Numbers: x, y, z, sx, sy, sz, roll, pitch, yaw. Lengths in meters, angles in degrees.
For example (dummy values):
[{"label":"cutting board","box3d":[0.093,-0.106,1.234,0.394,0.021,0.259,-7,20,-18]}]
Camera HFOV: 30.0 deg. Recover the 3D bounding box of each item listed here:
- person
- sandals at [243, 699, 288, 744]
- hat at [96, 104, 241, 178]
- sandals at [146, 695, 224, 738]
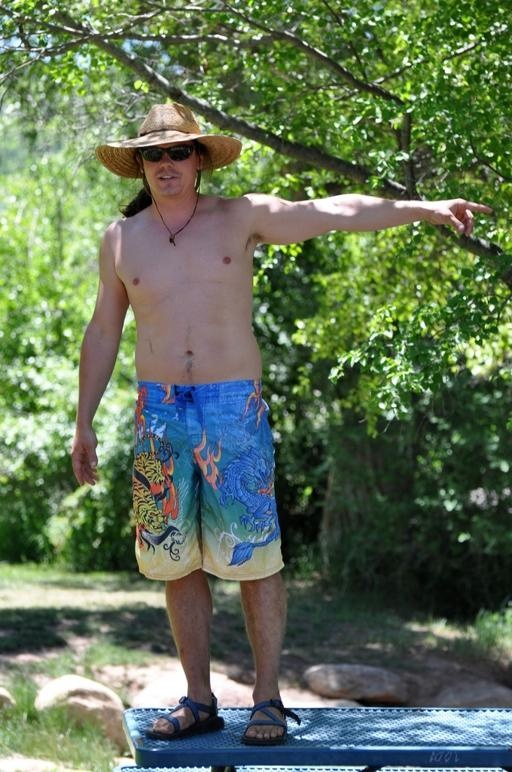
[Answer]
[{"label":"person","box3d":[-0.082,0.058,2.945,0.996,1.941,0.512,2,-16,-1]},{"label":"sandals","box3d":[0.023,0.940,2.685,0.122,0.112,0.138,1,-14,2]},{"label":"hat","box3d":[-0.305,-0.793,3.141,0.367,0.123,0.351,-4,-14,1]},{"label":"sandals","box3d":[-0.198,0.945,2.766,0.227,0.086,0.089,0,-3,-32]}]
